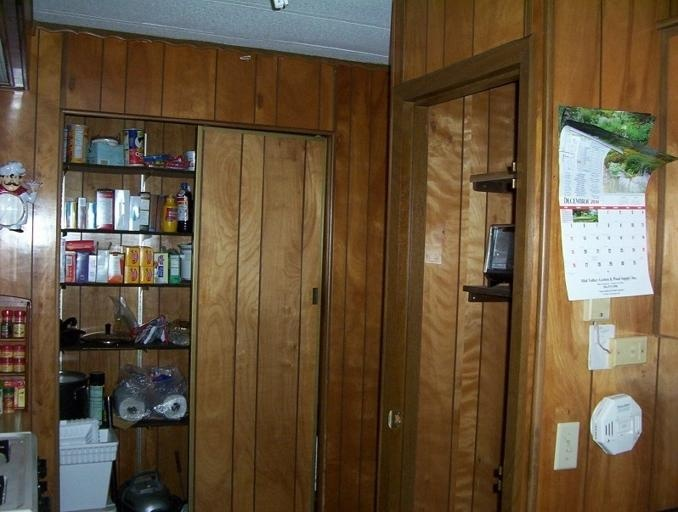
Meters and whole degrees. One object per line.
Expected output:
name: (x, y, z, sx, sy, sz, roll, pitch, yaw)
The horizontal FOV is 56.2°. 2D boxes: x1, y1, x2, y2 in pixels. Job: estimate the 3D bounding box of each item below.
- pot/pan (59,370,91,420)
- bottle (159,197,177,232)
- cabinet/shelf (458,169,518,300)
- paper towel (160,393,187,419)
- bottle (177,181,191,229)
pot/pan: (-1.494, 0.778, 3.656, 0.224, 0.232, 0.218, -1, 7, -21)
bottle: (-1.015, -0.242, 3.754, 0.095, 0.224, 0.136, 0, -3, -17)
cabinet/shelf: (0.657, -0.112, 2.770, 0.283, 0.564, 0.582, 1, 2, 11)
paper towel: (-0.993, 0.894, 3.743, 0.179, 0.143, 0.046, 0, -3, -16)
bottle: (-0.927, -0.288, 3.763, 0.089, 0.311, 0.096, -1, -3, 0)
